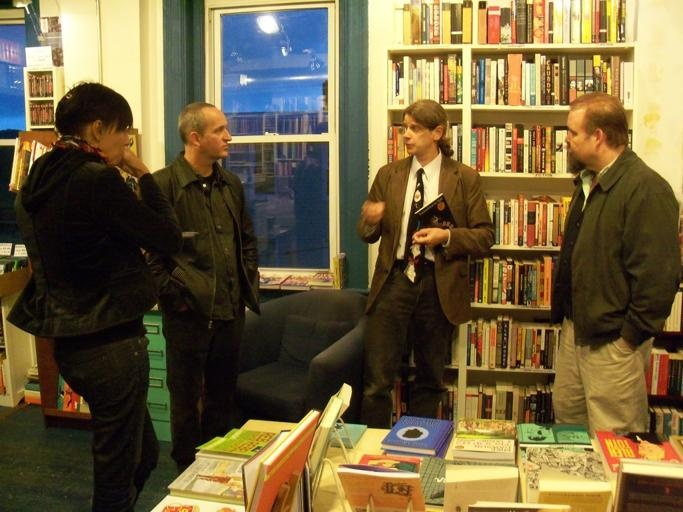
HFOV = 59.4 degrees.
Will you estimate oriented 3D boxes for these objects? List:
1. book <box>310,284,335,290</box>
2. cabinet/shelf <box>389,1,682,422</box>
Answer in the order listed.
[{"bbox_3d":[-0.134,0.229,4.244,0.168,0.020,0.185,-2,9,-3],"label":"book"},{"bbox_3d":[1.084,-0.266,3.462,1.670,2.370,1.099,5,9,37],"label":"cabinet/shelf"}]
